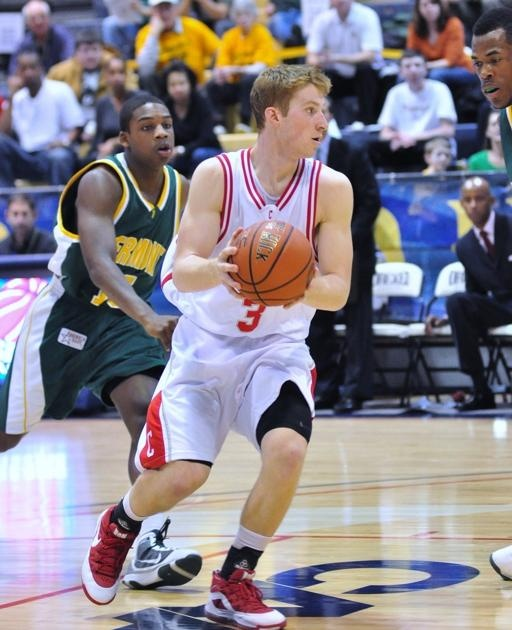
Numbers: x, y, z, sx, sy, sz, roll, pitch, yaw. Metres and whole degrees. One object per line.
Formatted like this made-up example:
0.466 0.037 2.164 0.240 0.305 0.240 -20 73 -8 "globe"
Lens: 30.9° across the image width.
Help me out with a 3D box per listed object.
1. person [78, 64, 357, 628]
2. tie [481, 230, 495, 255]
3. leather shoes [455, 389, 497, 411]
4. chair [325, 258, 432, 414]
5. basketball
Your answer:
-0.106 0.151 2.215 0.623 1.334 0.836 3 30 6 "person"
0.969 -0.310 3.908 0.025 0.033 0.110 35 31 -31 "tie"
0.889 0.360 3.781 0.160 0.063 0.053 0 -2 36 "leather shoes"
0.683 0.073 4.598 0.355 0.543 0.408 -4 22 -2 "chair"
0.034 -0.114 2.109 0.192 0.195 0.182 21 16 14 "basketball"
